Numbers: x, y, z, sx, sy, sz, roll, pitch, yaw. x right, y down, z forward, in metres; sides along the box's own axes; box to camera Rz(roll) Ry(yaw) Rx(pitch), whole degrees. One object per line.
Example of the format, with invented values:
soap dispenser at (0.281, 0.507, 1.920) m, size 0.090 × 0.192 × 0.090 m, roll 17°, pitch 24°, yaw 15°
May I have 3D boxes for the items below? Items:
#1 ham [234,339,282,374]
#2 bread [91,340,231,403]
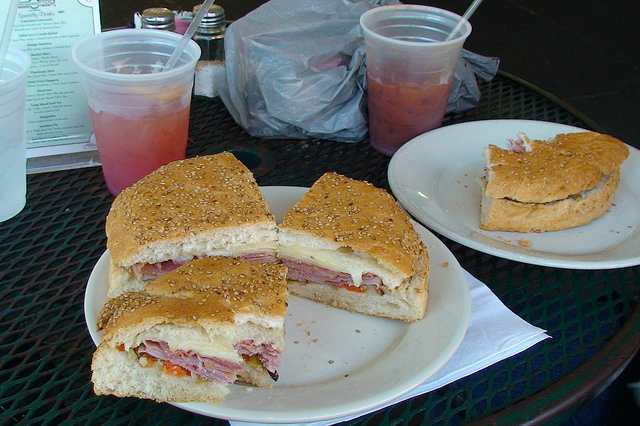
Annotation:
ham at (-0.268, 0.633, 2.311) m, size 0.169 × 0.061 × 0.147 m, roll 7°, pitch 73°, yaw 5°
bread at (-0.646, 0.688, 2.194) m, size 0.538 × 0.251 × 0.184 m, roll 2°, pitch 49°, yaw -3°
